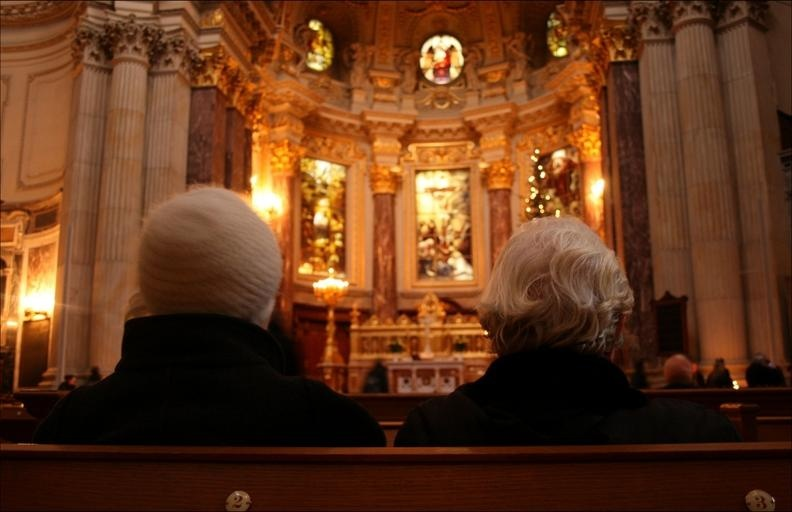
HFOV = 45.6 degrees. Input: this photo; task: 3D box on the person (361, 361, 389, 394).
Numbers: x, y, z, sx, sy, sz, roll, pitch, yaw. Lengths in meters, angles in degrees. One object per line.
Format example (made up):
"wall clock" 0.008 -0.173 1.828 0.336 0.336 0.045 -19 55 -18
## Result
"person" -0.296 2.064 15.914 0.513 0.756 0.349 1 -43 0
